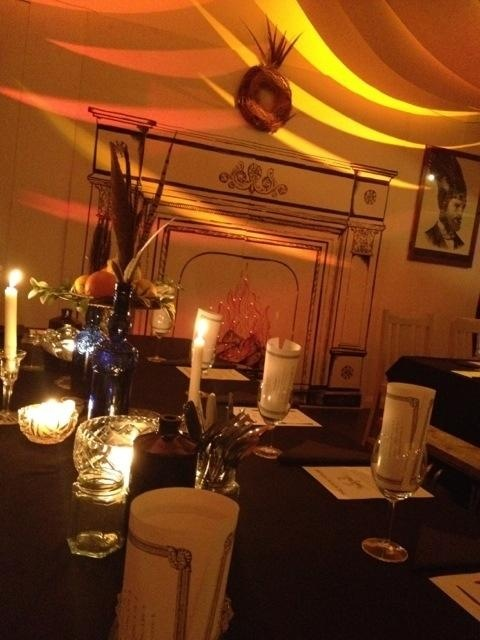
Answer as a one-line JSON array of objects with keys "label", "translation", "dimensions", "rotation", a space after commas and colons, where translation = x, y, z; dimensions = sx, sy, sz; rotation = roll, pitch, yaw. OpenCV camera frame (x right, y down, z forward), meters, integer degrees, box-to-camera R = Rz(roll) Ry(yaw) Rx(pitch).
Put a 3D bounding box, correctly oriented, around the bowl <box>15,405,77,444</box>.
[{"label": "bowl", "translation": [-0.355, 0.202, 0.930], "dimensions": [0.103, 0.048, 0.096], "rotation": [0, 6, 0]}]
